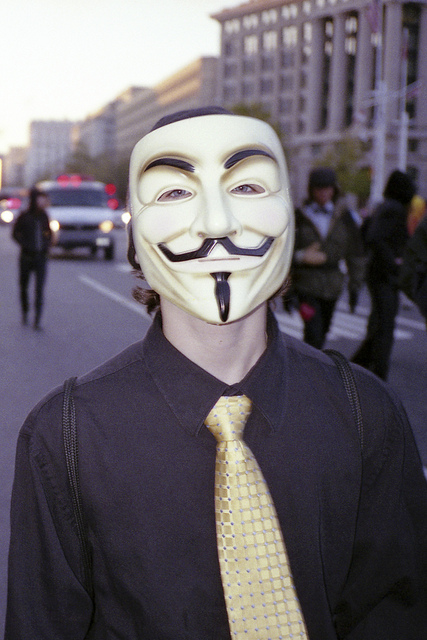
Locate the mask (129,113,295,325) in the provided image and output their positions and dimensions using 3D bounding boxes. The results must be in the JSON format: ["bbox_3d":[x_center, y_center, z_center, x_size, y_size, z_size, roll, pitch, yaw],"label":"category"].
[{"bbox_3d":[0.002,-0.177,1.188,0.278,0.332,0.215,-3,15,-6],"label":"mask"}]

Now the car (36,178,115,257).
[{"bbox_3d":[-3.665,-3.062,17.728,1.720,1.617,3.369,-1,28,-19],"label":"car"}]

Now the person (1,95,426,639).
[{"bbox_3d":[0.029,0.113,1.172,0.679,0.915,0.468,1,15,11],"label":"person"}]

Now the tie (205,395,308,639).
[{"bbox_3d":[0.059,0.301,1.099,0.100,0.351,0.060,-9,-16,1],"label":"tie"}]

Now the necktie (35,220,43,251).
[{"bbox_3d":[-2.127,-1.031,8.498,0.081,0.347,0.196,-6,15,-14],"label":"necktie"}]
